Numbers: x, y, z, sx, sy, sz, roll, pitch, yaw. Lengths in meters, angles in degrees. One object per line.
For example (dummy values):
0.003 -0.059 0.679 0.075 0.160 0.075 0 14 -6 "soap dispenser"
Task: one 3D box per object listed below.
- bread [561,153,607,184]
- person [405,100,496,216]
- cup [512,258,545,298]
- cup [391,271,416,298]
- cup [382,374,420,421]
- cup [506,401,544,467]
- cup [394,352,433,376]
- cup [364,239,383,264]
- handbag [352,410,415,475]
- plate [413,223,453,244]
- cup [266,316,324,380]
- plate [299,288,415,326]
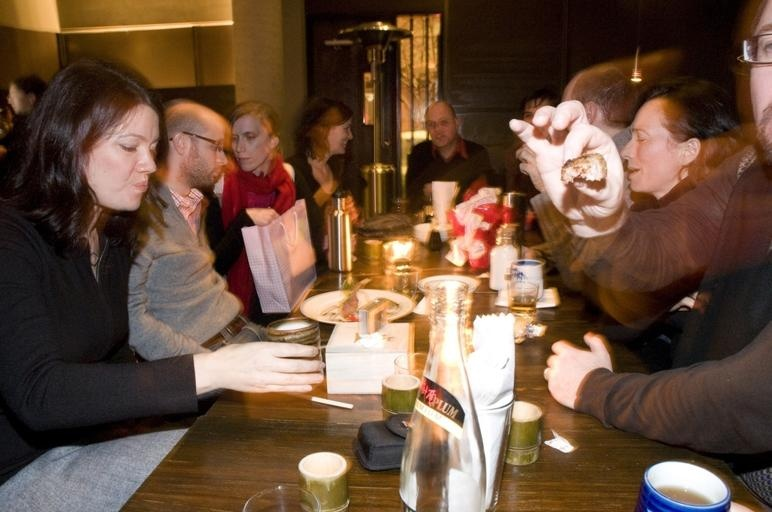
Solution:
0.560 -0.244 1.648 0.107 0.045 0.093 12 38 28 "bread"
0.559 -0.959 5.321 0.788 0.915 0.516 -3 18 4 "person"
0.583 0.083 2.375 0.164 0.161 0.160 -2 4 0 "cup"
0.087 0.121 2.589 0.115 0.114 0.111 0 5 0 "cup"
0.040 0.408 1.699 0.128 0.086 0.122 1 0 0 "cup"
0.373 0.493 1.644 0.159 0.136 0.153 1 2 0 "cup"
0.084 0.324 1.780 0.076 0.064 0.095 -2 7 -43 "cup"
-0.072 -0.032 3.228 0.132 0.129 0.119 0 7 6 "cup"
-0.011 0.504 1.571 0.153 0.049 0.116 0 12 -5 "handbag"
0.271 -0.158 3.546 0.165 0.061 0.156 11 26 23 "plate"
-0.309 0.310 1.961 0.163 0.157 0.164 1 3 0 "cup"
-0.187 0.201 2.375 0.236 0.022 0.225 -10 19 -31 "plate"
